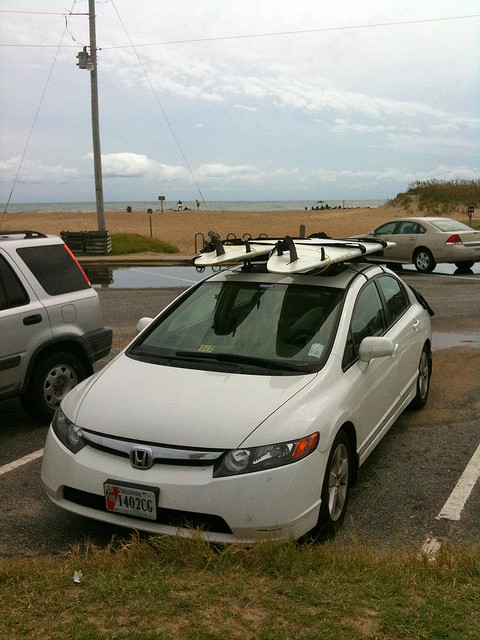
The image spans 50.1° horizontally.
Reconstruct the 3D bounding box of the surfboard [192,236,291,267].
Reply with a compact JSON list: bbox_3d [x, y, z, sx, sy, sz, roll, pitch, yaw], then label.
[{"bbox_3d":[0.069,-0.593,4.222,0.297,0.255,0.933,42,29,19],"label":"surfboard"}]

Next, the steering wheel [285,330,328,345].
[{"bbox_3d":[0.440,0.112,3.388,0.273,0.101,0.130,-1,-6,11],"label":"steering wheel"}]

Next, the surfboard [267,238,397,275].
[{"bbox_3d":[0.631,-0.495,3.862,0.361,0.104,1.242,14,16,25],"label":"surfboard"}]

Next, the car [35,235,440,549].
[{"bbox_3d":[0.265,0.300,3.700,1.663,1.229,2.859,4,11,28],"label":"car"}]
